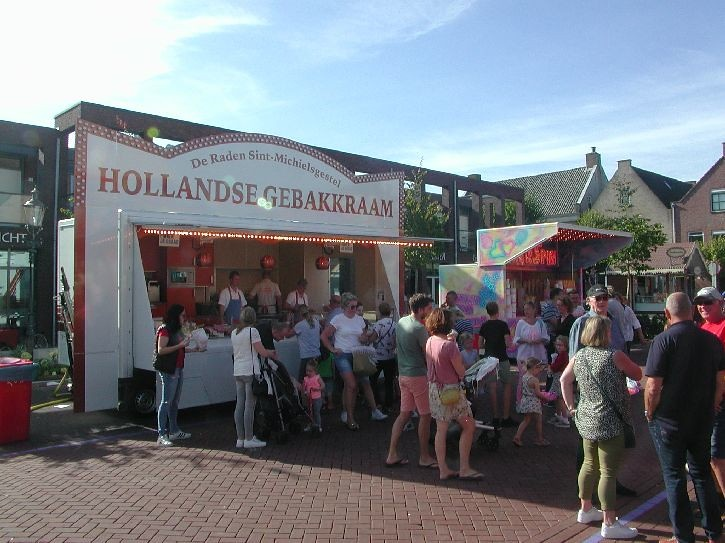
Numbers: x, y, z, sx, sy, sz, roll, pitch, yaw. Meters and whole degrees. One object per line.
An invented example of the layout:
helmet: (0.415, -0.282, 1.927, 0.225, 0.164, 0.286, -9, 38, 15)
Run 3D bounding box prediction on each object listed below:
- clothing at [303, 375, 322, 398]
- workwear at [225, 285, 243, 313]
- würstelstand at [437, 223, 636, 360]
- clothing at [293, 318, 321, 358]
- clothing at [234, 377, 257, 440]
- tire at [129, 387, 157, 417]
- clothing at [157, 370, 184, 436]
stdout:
clothing: (-0.680, 1.645, 8.900, 0.373, 0.409, 0.246, -2, -19, 2)
workwear: (-2.666, 0.588, 12.819, 0.197, 0.550, 0.454, -11, -13, 42)
würstelstand: (4.128, 0.229, 15.824, 2.762, 2.754, 3.590, 5, 6, 44)
clothing: (-0.861, 0.998, 9.877, 0.340, 0.658, 0.627, -1, -18, -10)
clothing: (-1.480, 1.829, 8.246, 0.204, 0.817, 0.273, 5, -19, -19)
tire: (-3.485, 2.033, 9.787, 0.137, 0.418, 0.399, 5, -23, 33)
clothing: (-2.583, 1.723, 8.438, 0.309, 1.120, 0.417, -2, -1, 13)
